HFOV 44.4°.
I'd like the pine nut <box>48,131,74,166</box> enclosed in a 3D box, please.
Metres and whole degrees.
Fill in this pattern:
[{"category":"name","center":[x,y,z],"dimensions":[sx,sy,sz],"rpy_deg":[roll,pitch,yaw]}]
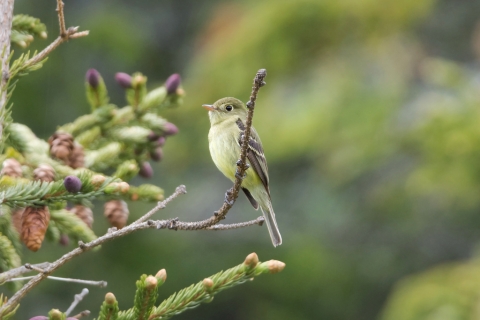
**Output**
[{"category":"pine nut","center":[-1.393,-0.083,4.670],"dimensions":[0.191,0.255,0.168],"rpy_deg":[5,-10,8]}]

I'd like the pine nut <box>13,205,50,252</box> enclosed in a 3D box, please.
[{"category":"pine nut","center":[-1.486,0.455,4.218],"dimensions":[0.205,0.348,0.190],"rpy_deg":[-4,2,-29]}]

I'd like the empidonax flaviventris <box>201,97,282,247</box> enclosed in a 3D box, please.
[{"category":"empidonax flaviventris","center":[-0.002,0.160,5.456],"dimensions":[0.686,1.437,0.543],"rpy_deg":[-2,-3,7]}]

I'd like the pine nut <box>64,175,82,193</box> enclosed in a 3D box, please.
[{"category":"pine nut","center":[-1.178,0.164,4.162],"dimensions":[0.125,0.097,0.158],"rpy_deg":[5,-35,-14]}]
